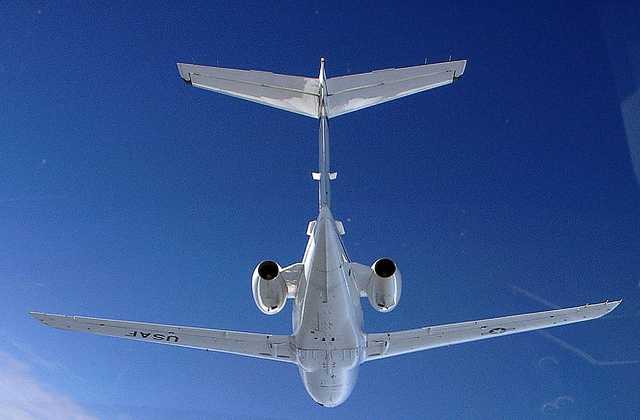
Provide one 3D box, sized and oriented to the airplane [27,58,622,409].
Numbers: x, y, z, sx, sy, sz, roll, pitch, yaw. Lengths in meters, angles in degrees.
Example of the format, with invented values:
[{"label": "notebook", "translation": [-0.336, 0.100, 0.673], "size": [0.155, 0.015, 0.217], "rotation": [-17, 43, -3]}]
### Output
[{"label": "airplane", "translation": [0.851, 1.644, 19.262], "size": [13.254, 14.010, 5.215], "rotation": [-12, -86, -37]}]
